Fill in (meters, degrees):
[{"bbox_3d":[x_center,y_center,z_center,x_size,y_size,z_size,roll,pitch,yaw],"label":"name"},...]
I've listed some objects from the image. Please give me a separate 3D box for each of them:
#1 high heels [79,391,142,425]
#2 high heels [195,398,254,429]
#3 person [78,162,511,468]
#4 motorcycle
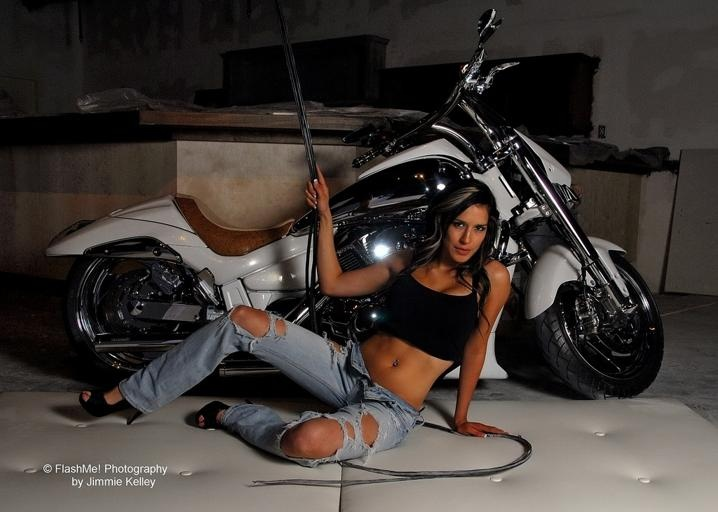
[{"bbox_3d":[-0.815,0.492,1.727,0.198,0.090,0.097,5,14,14],"label":"high heels"},{"bbox_3d":[-0.445,0.512,1.694,0.174,0.070,0.085,-4,15,-20],"label":"high heels"},{"bbox_3d":[-0.181,0.199,1.656,1.453,0.787,0.666,-3,9,-21],"label":"person"},{"bbox_3d":[-0.035,-0.175,2.797,3.082,1.619,1.386,-2,6,1],"label":"motorcycle"}]
